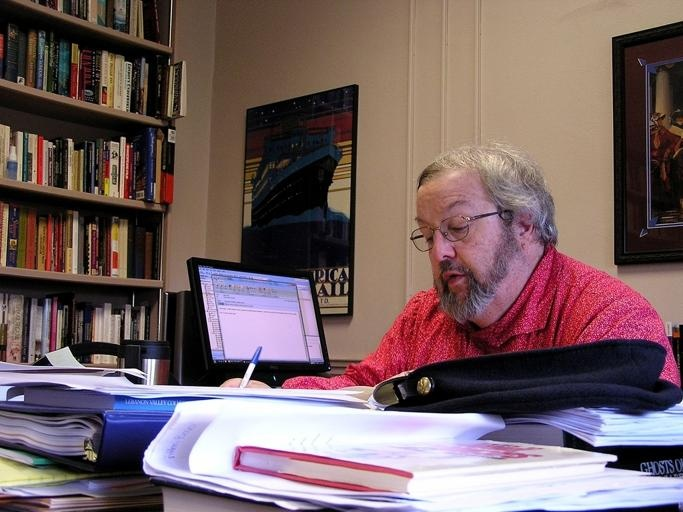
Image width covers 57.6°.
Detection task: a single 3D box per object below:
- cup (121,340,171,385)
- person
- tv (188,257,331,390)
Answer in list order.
[{"bbox_3d":[-0.281,0.156,0.925,0.072,0.083,0.076,-1,-2,0],"label":"cup"},{"bbox_3d":[0.364,0.045,1.566,0.841,0.667,0.363,2,3,34],"label":"person"},{"bbox_3d":[-0.267,0.221,1.948,0.161,0.431,0.564,-19,-20,41],"label":"tv"}]
